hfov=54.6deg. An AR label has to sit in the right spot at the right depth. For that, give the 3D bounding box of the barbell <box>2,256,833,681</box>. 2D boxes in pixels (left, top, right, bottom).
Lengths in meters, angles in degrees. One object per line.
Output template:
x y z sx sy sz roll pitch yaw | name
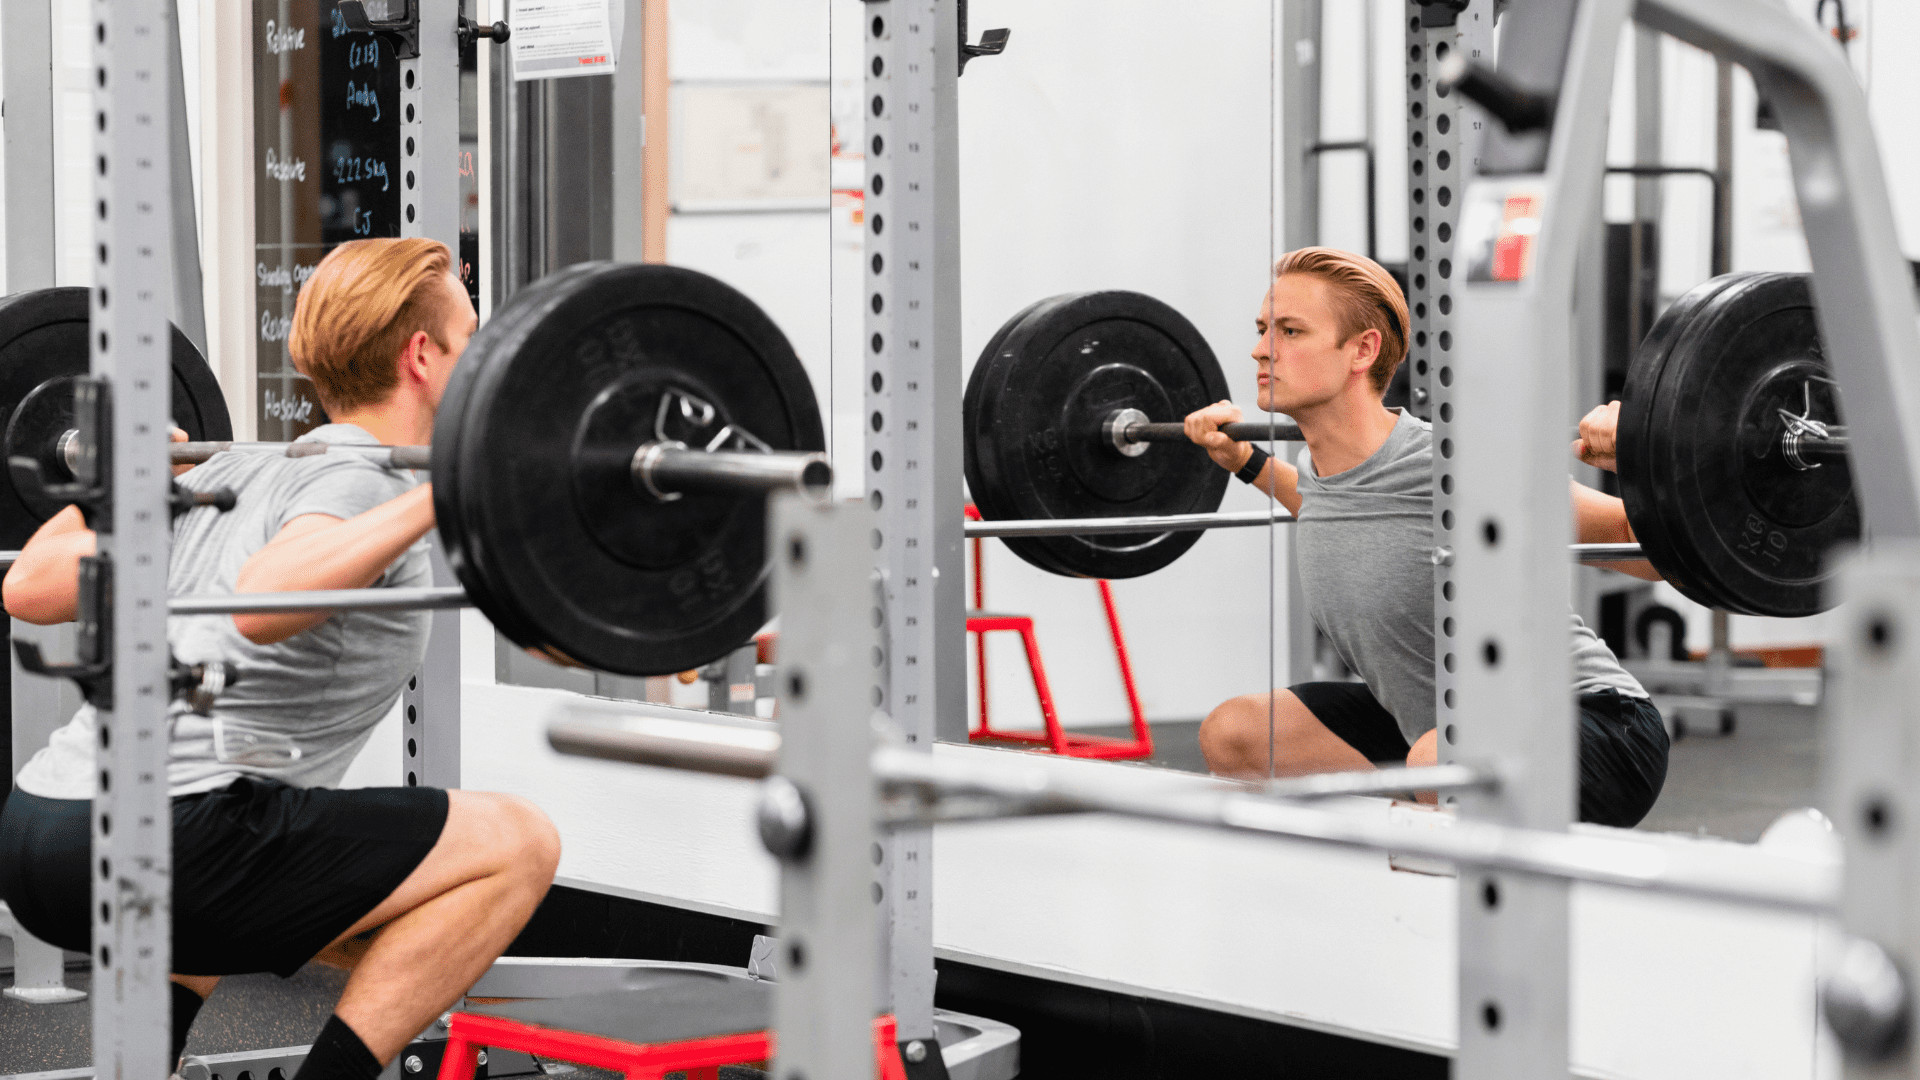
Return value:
-0.856 -0.206 3.750 0.683 0.708 1.857 -13 14 -31 | barbell

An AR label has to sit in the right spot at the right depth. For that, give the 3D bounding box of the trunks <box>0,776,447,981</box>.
-1.358 0.549 3.430 0.568 0.212 0.428 2 -2 -35 | trunks

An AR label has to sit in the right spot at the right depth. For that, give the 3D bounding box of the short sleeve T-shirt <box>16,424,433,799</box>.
-1.291 0.161 3.648 0.554 0.663 0.951 20 -8 -32 | short sleeve T-shirt
